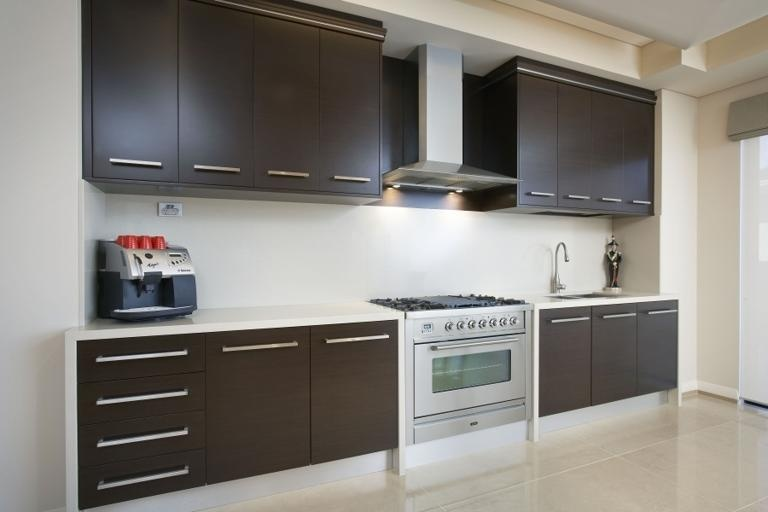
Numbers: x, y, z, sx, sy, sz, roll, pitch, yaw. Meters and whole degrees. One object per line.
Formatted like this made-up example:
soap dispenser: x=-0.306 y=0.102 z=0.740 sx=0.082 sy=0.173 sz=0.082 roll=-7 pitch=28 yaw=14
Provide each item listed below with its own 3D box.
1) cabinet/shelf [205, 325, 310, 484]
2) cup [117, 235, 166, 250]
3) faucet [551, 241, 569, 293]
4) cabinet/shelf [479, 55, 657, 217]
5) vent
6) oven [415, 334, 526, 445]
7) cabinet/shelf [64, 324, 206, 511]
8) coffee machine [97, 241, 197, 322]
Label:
cabinet/shelf: x=-0.830 y=1.087 z=4.300 sx=0.959 sy=1.356 sz=0.916 roll=3 pitch=-8 yaw=-28
cup: x=-1.729 y=-0.097 z=3.912 sx=0.151 sy=0.077 sz=0.237 roll=2 pitch=3 yaw=37
faucet: x=1.760 y=0.110 z=5.476 sx=0.146 sy=0.493 sz=0.290 roll=-1 pitch=3 yaw=26
cabinet/shelf: x=1.632 y=-1.137 z=5.052 sx=1.532 sy=1.025 sz=0.528 roll=1 pitch=-3 yaw=-25
vent: x=0.551 y=-1.194 z=4.752 sx=1.219 sy=1.202 sz=0.651 roll=2 pitch=-5 yaw=-28
oven: x=0.707 y=1.005 z=4.588 sx=0.976 sy=0.726 sz=0.645 roll=-5 pitch=1 yaw=2
cabinet/shelf: x=-1.714 y=1.061 z=4.107 sx=1.183 sy=1.551 sz=1.030 roll=1 pitch=-5 yaw=-26
coffee machine: x=-1.720 y=0.199 z=4.035 sx=0.583 sy=0.601 sz=0.625 roll=-4 pitch=-5 yaw=41
